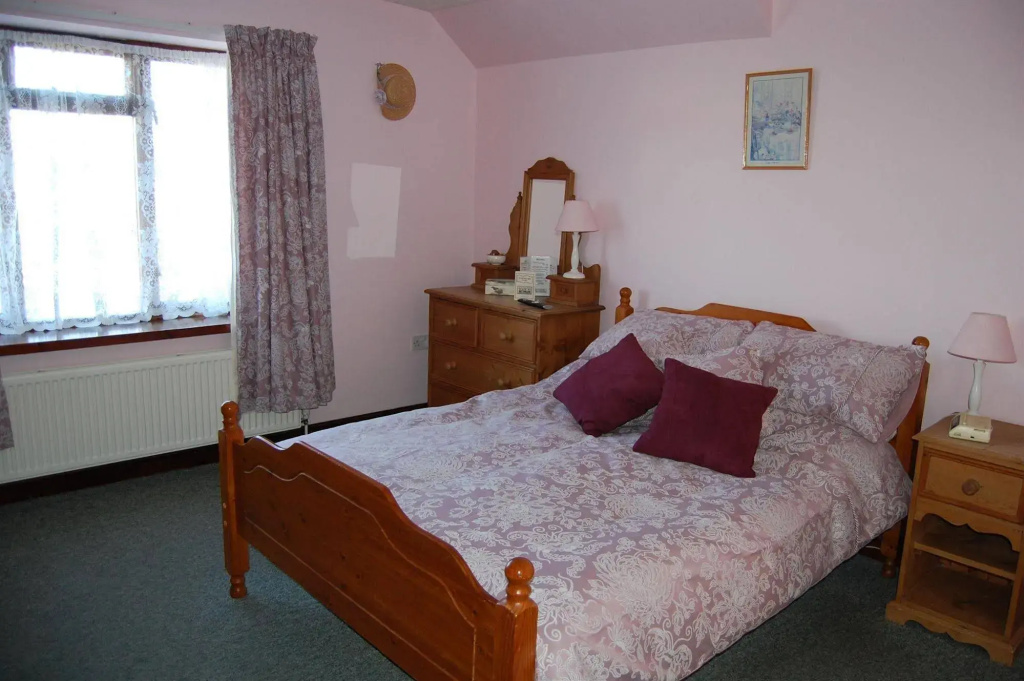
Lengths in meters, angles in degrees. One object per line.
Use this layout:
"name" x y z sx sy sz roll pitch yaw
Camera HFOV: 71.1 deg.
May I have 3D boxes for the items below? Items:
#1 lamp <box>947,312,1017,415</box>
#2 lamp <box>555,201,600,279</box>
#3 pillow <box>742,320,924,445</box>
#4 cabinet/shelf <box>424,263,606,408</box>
"lamp" 2.459 0.129 3.752 0.283 0.570 0.369 11 18 34
"lamp" 0.476 -0.741 5.205 0.279 0.540 0.340 2 15 6
"pillow" 1.742 0.238 3.942 0.694 0.219 0.598 18 60 28
"cabinet/shelf" -0.044 0.145 5.497 0.686 1.621 1.151 -9 17 -44
